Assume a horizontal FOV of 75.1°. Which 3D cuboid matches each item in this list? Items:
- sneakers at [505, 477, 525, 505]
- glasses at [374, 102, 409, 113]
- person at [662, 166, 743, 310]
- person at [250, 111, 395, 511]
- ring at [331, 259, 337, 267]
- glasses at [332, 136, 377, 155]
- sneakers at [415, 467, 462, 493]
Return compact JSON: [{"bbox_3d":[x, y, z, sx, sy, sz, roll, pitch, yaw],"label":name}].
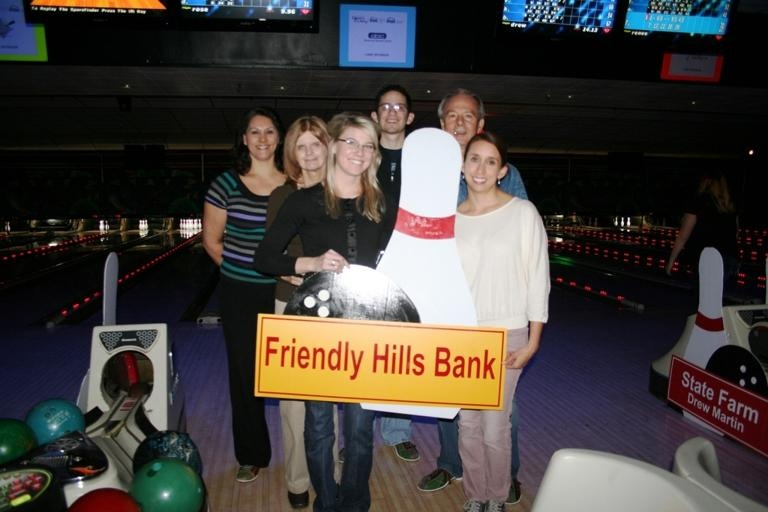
[{"bbox_3d":[0.652,1.186,2.493,0.048,0.060,0.147,-2,-1,21],"label":"sneakers"},{"bbox_3d":[0.046,-0.779,2.620,0.158,0.042,0.057,0,22,-3],"label":"glasses"},{"bbox_3d":[2.467,-0.207,3.772,0.445,0.819,0.289,17,26,35],"label":"person"},{"bbox_3d":[-0.259,0.281,2.231,0.572,1.733,0.543,1,21,0],"label":"person"},{"bbox_3d":[-0.201,0.029,2.028,0.025,0.027,0.006,6,-3,9],"label":"ring"},{"bbox_3d":[-0.115,-0.464,2.103,0.159,0.064,0.040,0,22,-3],"label":"glasses"},{"bbox_3d":[0.288,1.151,2.608,0.232,0.091,0.094,-2,10,-20],"label":"sneakers"}]
